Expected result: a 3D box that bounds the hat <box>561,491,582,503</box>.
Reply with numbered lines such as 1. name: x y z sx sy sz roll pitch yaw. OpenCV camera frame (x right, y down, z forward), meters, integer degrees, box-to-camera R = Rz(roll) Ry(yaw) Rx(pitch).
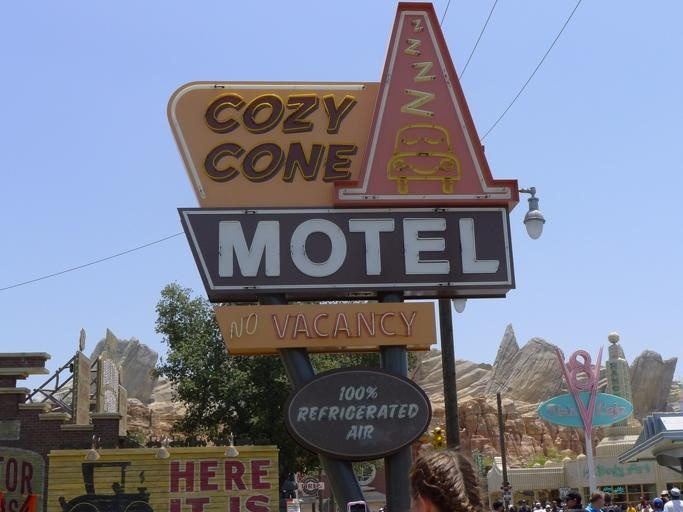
1. hat: 6.356 6.592 27.542 0.404 0.352 0.271 -5 -13 7
